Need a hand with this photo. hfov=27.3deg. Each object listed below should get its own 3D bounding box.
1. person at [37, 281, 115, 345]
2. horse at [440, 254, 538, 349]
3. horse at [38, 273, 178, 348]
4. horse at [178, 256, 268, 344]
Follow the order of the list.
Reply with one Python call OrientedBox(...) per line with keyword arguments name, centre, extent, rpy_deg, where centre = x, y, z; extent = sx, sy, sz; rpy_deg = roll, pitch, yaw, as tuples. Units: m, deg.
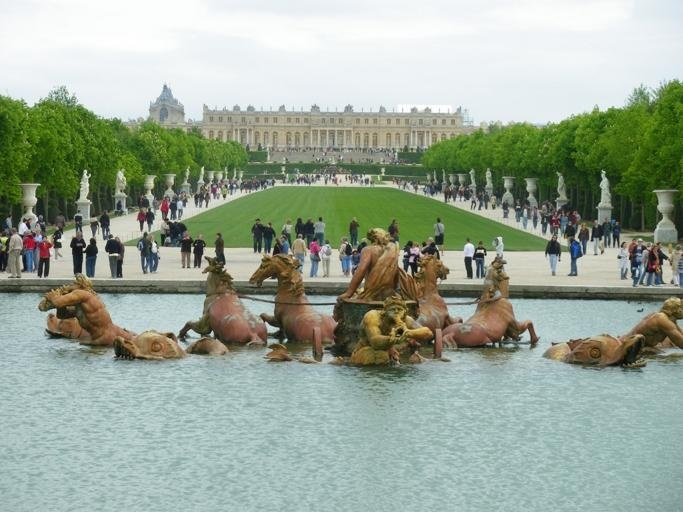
OrientedBox(name="person", centre=(-6.064, 1.233, 32.963), extent=(1.643, 1.713, 0.638), rpy_deg=(-2, 7, -15))
OrientedBox(name="horse", centre=(3.299, 1.448, 33.452), extent=(0.978, 2.298, 3.232), rpy_deg=(-2, 16, 41))
OrientedBox(name="horse", centre=(-5.325, 1.246, 33.215), extent=(3.523, 1.694, 1.493), rpy_deg=(10, 13, 16))
OrientedBox(name="horse", centre=(-2.648, 1.294, 33.526), extent=(1.138, 2.263, 3.296), rpy_deg=(-1, 16, -30))
